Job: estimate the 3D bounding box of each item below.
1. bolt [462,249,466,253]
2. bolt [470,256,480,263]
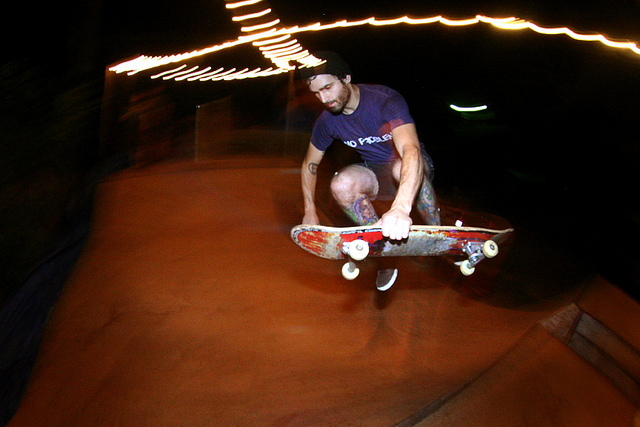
[{"bbox_3d":[1.655,0.438,5.524,0.020,0.080,0.013,13,69,11],"label":"bolt"},{"bbox_3d":[1.760,0.541,5.462,0.066,0.021,0.067,-20,34,-12],"label":"bolt"}]
